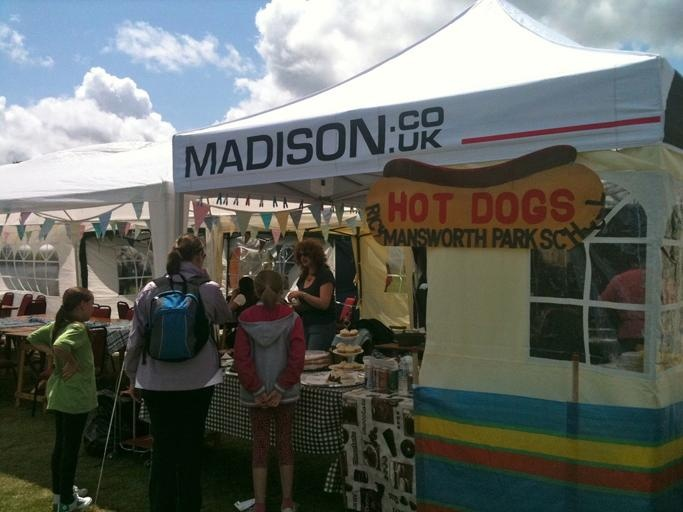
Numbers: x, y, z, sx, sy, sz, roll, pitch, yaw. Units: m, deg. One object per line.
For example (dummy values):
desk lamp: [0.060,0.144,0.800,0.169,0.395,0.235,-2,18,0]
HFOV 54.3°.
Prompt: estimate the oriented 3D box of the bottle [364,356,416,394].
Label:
bottle: [0.369,0.901,5.072,0.272,0.134,0.374,0,-1,-17]
